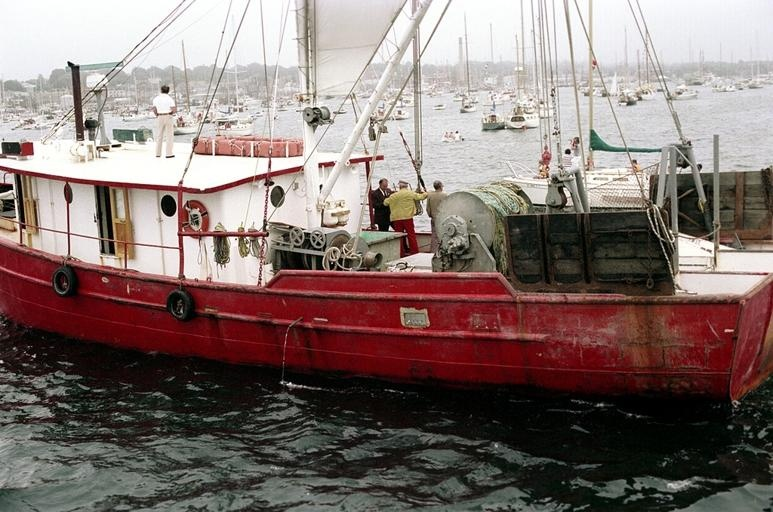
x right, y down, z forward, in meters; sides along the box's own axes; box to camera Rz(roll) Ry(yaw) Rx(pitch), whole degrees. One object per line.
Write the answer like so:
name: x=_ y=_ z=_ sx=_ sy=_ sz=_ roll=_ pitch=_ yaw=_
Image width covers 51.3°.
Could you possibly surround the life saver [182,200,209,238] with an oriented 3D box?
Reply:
life saver: x=-3.558 y=-0.654 z=14.796 sx=0.106 sy=0.664 sz=0.726 roll=-7 pitch=10 yaw=35
